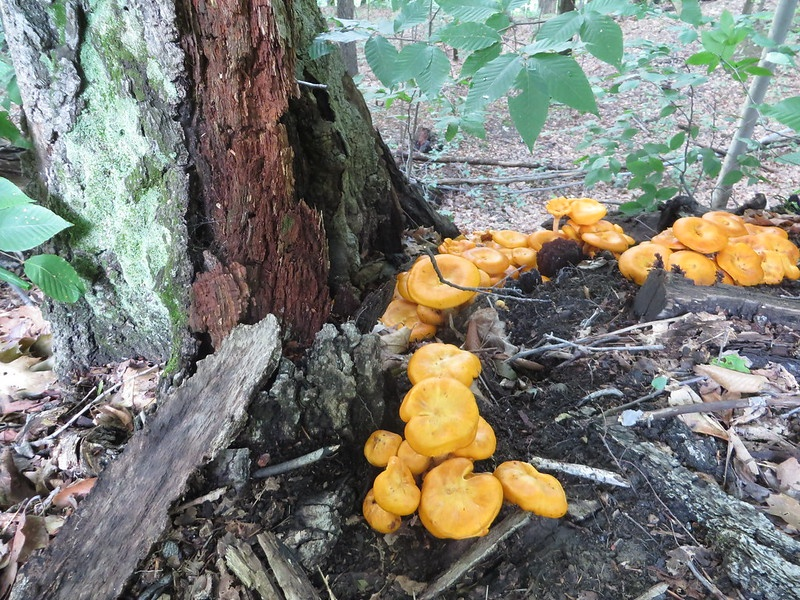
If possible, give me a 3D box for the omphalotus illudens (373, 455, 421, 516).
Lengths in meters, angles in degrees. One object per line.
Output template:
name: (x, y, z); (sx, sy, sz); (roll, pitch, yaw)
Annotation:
omphalotus illudens: (0.004, 1.168, 3.616); (0.340, 0.183, 0.337); (-6, 61, -29)
